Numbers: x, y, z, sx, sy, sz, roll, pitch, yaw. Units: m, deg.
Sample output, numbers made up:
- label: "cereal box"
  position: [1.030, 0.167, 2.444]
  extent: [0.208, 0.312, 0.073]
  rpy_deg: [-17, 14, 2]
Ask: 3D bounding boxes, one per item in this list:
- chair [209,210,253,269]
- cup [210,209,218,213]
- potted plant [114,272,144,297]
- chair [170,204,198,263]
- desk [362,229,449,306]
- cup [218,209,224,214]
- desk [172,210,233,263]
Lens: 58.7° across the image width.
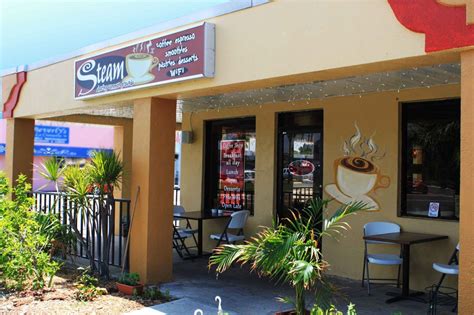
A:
- label: "chair"
  position: [-0.186, 1.516, 8.971]
  extent: [0.932, 1.252, 0.706]
  rpy_deg: [2, -1, 37]
- label: "cup"
  position: [-0.509, 1.225, 9.601]
  extent: [0.111, 0.081, 0.085]
  rpy_deg: [-2, -3, 27]
- label: "potted plant"
  position: [-1.811, 2.118, 7.057]
  extent: [0.282, 0.323, 0.445]
  rpy_deg: [4, -3, -37]
- label: "chair"
  position: [-1.143, 1.658, 9.328]
  extent: [0.636, 0.981, 0.748]
  rpy_deg: [1, 1, -38]
- label: "desk"
  position: [2.904, 1.828, 7.163]
  extent: [1.086, 0.952, 1.088]
  rpy_deg: [8, -8, -22]
- label: "cup"
  position: [-0.370, 1.217, 9.458]
  extent: [0.083, 0.062, 0.084]
  rpy_deg: [1, -1, 0]
- label: "desk"
  position: [-0.870, 1.721, 9.322]
  extent: [1.150, 1.119, 1.171]
  rpy_deg: [-2, -2, 41]
